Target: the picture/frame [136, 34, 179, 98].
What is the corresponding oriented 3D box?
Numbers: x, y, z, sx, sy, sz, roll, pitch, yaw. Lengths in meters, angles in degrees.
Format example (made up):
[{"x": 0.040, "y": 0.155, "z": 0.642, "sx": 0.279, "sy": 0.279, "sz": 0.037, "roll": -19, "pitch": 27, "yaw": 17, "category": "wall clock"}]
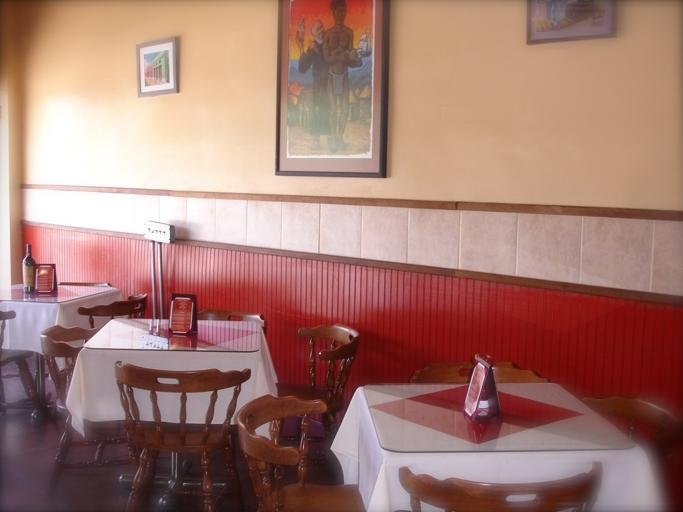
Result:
[{"x": -1.751, "y": -1.763, "z": 5.275, "sx": 0.510, "sy": 0.474, "sz": 0.039, "roll": 5, "pitch": 8, "yaw": 31, "category": "picture/frame"}]
